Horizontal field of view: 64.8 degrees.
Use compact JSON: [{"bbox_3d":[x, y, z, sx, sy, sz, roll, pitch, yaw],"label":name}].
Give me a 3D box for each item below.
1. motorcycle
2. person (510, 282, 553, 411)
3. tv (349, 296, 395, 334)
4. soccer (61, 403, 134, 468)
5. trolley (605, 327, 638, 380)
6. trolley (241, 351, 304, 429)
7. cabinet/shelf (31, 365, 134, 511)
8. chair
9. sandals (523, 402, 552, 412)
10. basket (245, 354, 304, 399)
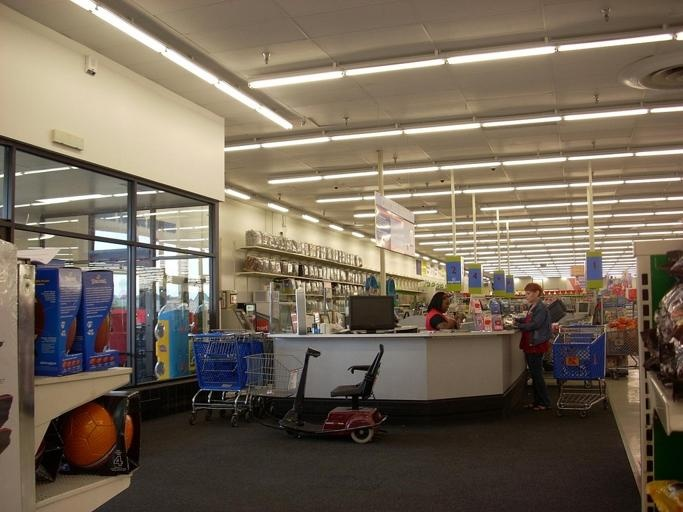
[{"bbox_3d":[-0.142,1.723,6.745,1.287,1.161,0.786,-3,-15,10],"label":"motorcycle"},{"bbox_3d":[3.001,1.370,8.398,0.512,1.907,1.140,-3,-5,18],"label":"person"},{"bbox_3d":[0.413,0.853,7.750,0.527,0.389,0.152,1,-3,-6],"label":"tv"},{"bbox_3d":[-1.336,0.929,3.047,0.342,0.340,0.381,-3,-36,-24],"label":"soccer"},{"bbox_3d":[5.648,1.947,10.681,0.668,0.888,0.662,8,-18,19],"label":"trolley"},{"bbox_3d":[-0.980,1.815,7.558,1.149,1.049,0.724,1,0,6],"label":"trolley"},{"bbox_3d":[-1.391,0.972,2.772,0.350,0.740,0.623,-3,-5,17],"label":"cabinet/shelf"},{"bbox_3d":[0.281,1.543,6.967,0.843,1.054,0.745,1,-11,6],"label":"chair"},{"bbox_3d":[2.955,2.280,8.157,0.351,0.090,0.136,4,-7,-2],"label":"sandals"},{"bbox_3d":[-0.951,1.591,7.566,0.823,0.573,0.560,10,2,-7],"label":"basket"}]
